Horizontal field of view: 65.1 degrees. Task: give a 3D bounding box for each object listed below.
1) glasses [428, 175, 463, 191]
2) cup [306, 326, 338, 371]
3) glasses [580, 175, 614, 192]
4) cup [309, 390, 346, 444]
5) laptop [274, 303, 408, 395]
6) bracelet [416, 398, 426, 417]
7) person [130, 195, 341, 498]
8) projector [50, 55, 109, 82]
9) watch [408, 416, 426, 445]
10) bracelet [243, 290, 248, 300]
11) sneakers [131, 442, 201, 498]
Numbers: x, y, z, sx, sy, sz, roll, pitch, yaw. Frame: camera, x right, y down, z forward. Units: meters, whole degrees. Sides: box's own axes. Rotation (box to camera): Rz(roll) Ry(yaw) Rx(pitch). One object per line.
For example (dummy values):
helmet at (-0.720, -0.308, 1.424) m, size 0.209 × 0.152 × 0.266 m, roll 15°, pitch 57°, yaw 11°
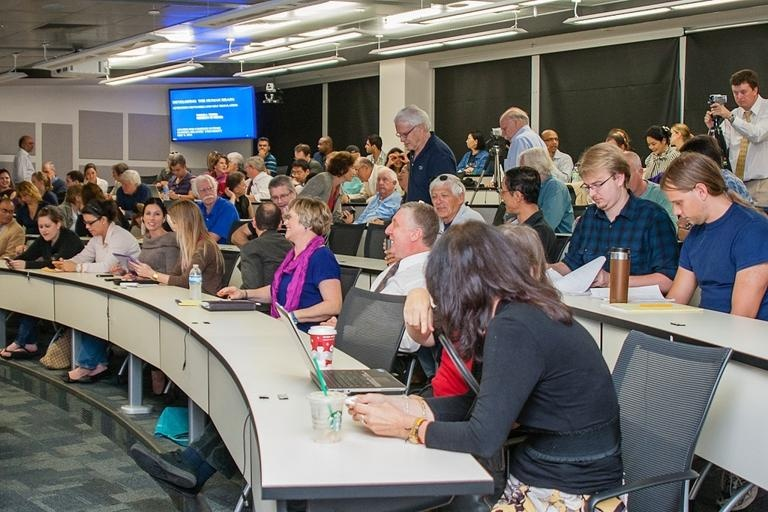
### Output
glasses at (0.471, -0.532, 4.593) m, size 0.193 × 0.174 × 0.141 m, roll -7°, pitch 6°, yaw -42°
cup at (-0.265, 0.379, 2.438) m, size 0.129 × 0.150 × 0.135 m, roll -9°, pitch -16°, yaw -3°
glasses at (1.235, -0.424, 3.534) m, size 0.122 × 0.085 × 0.211 m, roll -4°, pitch 8°, yaw -19°
cup at (-0.171, 0.479, 1.799) m, size 0.144 × 0.123 × 0.134 m, roll -1°, pitch -4°, yaw 0°
laptop at (-0.141, 0.274, 2.214) m, size 0.385 × 0.244 × 0.403 m, roll 0°, pitch 4°, yaw -14°
bracelet at (0.118, 0.517, 2.068) m, size 0.035 × 0.044 × 0.048 m, roll -1°, pitch -9°, yaw -7°
person at (-0.846, 0.459, 3.477) m, size 1.469 × 1.500 × 0.723 m, roll -10°, pitch 5°, yaw -43°
projector at (-6.643, -4.018, 13.109) m, size 1.117 × 0.386 × 1.740 m, roll -6°, pitch 8°, yaw -27°
watch at (0.098, 0.532, 1.829) m, size 0.039 × 0.065 × 0.056 m, roll -3°, pitch -13°, yaw 18°
bracelet at (-0.919, 0.259, 3.988) m, size 0.019 × 0.048 × 0.039 m, roll 5°, pitch 5°, yaw 35°
sneakers at (-1.097, 1.053, 3.079) m, size 0.329 × 0.229 × 0.156 m, roll -1°, pitch 8°, yaw 9°
